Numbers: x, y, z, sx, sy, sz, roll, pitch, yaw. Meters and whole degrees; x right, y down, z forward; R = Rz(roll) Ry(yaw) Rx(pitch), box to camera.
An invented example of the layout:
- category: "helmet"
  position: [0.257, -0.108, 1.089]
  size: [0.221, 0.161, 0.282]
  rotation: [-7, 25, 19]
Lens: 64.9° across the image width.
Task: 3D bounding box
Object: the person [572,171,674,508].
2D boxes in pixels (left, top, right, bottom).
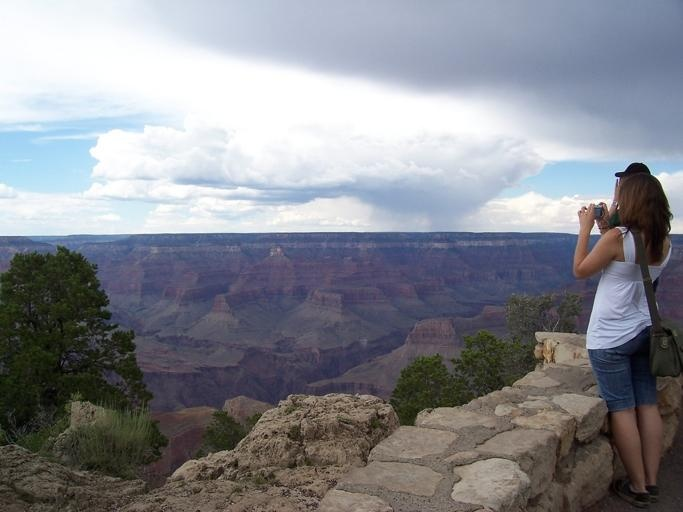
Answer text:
- category: "person"
  position: [2.969, 0.915, 5.700]
  size: [0.938, 3.563, 0.561]
  rotation: [3, 7, 23]

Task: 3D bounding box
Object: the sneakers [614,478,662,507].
- category: "sneakers"
  position: [3.232, 2.592, 5.871]
  size: [0.204, 0.196, 0.463]
  rotation: [2, -5, -18]
